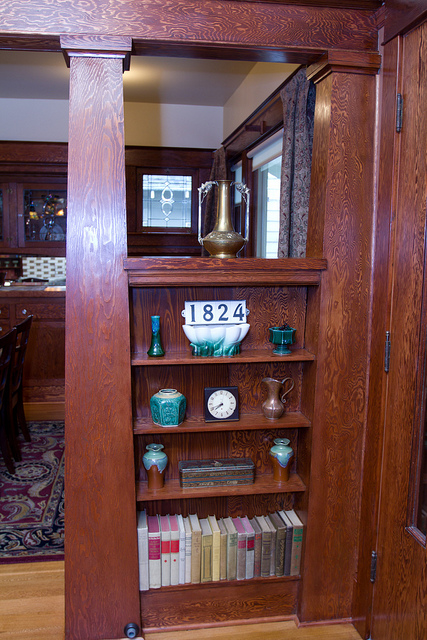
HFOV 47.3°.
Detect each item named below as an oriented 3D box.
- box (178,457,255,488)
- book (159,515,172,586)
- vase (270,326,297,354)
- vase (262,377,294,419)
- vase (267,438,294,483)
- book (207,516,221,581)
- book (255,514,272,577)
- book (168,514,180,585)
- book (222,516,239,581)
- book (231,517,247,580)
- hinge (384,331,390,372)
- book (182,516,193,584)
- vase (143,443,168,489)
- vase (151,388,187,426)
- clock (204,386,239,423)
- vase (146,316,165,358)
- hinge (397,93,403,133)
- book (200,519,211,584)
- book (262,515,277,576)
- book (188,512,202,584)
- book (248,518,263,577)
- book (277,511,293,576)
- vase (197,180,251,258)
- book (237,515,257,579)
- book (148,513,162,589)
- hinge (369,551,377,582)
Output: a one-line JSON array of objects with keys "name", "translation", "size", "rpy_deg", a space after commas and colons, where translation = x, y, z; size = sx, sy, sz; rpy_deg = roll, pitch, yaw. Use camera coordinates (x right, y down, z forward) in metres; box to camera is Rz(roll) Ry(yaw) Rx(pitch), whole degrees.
[{"name": "box", "translation": [0.011, 0.572, 1.809], "size": [0.275, 0.076, 0.072], "rpy_deg": [-1, 3, -13]}, {"name": "book", "translation": [-0.170, 0.833, 1.731], "size": [0.060, 0.183, 0.180], "rpy_deg": [1, -4, -8]}, {"name": "vase", "translation": [0.249, 0.070, 1.781], "size": [0.083, 0.083, 0.089], "rpy_deg": [8, 7, 39]}, {"name": "vase", "translation": [0.249, 0.293, 1.856], "size": [0.078, 0.148, 0.162], "rpy_deg": [2, 4, 32]}, {"name": "vase", "translation": [0.259, 0.536, 1.881], "size": [0.087, 0.156, 0.131], "rpy_deg": [0, 3, 7]}, {"name": "book", "translation": [0.002, 0.841, 1.768], "size": [0.055, 0.174, 0.167], "rpy_deg": [-1, -2, -9]}, {"name": "book", "translation": [0.183, 0.880, 1.851], "size": [0.051, 0.143, 0.149], "rpy_deg": [5, -17, -7]}, {"name": "book", "translation": [-0.141, 0.832, 1.739], "size": [0.063, 0.194, 0.192], "rpy_deg": [0, 0, -6]}, {"name": "book", "translation": [0.060, 0.845, 1.778], "size": [0.056, 0.174, 0.170], "rpy_deg": [1, 0, -6]}, {"name": "book", "translation": [0.093, 0.847, 1.779], "size": [0.054, 0.172, 0.163], "rpy_deg": [0, 3, -7]}, {"name": "hinge", "translation": [0.559, 0.103, 1.572], "size": [0.009, 0.132, 0.019], "rpy_deg": [-1, 3, -16]}, {"name": "book", "translation": [-0.097, 0.852, 1.784], "size": [0.047, 0.143, 0.144], "rpy_deg": [-1, -14, 4]}, {"name": "vase", "translation": [-0.209, 0.532, 1.773], "size": [0.084, 0.161, 0.090], "rpy_deg": [1, 0, 23]}, {"name": "vase", "translation": [-0.156, 0.303, 1.739], "size": [0.109, 0.114, 0.109], "rpy_deg": [-1, -2, 35]}, {"name": "clock", "translation": [0.028, 0.318, 1.799], "size": [0.102, 0.112, 0.042], "rpy_deg": [1, -4, -10]}, {"name": "vase", "translation": [-0.208, 0.060, 1.742], "size": [0.054, 0.139, 0.081], "rpy_deg": [0, 3, -10]}, {"name": "hinge", "translation": [0.563, -0.625, 1.472], "size": [0.015, 0.104, 0.020], "rpy_deg": [1, 3, 21]}, {"name": "book", "translation": [-0.030, 0.861, 1.790], "size": [0.039, 0.185, 0.098], "rpy_deg": [0, 3, -3]}, {"name": "book", "translation": [0.207, 0.844, 1.798], "size": [0.054, 0.165, 0.164], "rpy_deg": [2, -3, -2]}, {"name": "book", "translation": [-0.067, 0.833, 1.753], "size": [0.058, 0.174, 0.174], "rpy_deg": [0, -5, -8]}, {"name": "book", "translation": [0.154, 0.847, 1.790], "size": [0.053, 0.161, 0.158], "rpy_deg": [1, 3, -6]}, {"name": "book", "translation": [0.263, 0.840, 1.804], "size": [0.056, 0.176, 0.171], "rpy_deg": [1, -3, -4]}, {"name": "vase", "translation": [0.040, -0.365, 1.828], "size": [0.186, 0.309, 0.180], "rpy_deg": [1, -2, -1]}, {"name": "book", "translation": [0.123, 0.845, 1.787], "size": [0.056, 0.177, 0.169], "rpy_deg": [0, 0, -6]}, {"name": "book", "translation": [-0.206, 0.830, 1.723], "size": [0.056, 0.174, 0.171], "rpy_deg": [-1, -15, -8]}, {"name": "hinge", "translation": [0.548, 0.849, 1.672], "size": [0.006, 0.112, 0.029], "rpy_deg": [-2, 4, -39]}]
